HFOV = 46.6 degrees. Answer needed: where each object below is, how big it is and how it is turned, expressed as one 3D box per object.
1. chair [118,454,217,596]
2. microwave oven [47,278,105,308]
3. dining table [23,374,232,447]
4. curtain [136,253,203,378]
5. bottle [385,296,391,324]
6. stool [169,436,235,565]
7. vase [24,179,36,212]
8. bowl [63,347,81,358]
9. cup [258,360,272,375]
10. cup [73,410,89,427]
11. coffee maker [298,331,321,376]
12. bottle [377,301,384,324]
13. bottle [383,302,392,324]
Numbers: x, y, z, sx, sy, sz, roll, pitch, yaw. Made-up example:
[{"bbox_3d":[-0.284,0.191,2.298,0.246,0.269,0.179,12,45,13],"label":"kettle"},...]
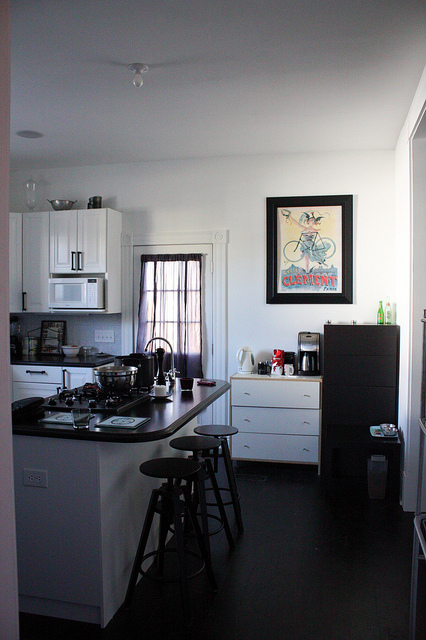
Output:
[{"bbox_3d":[-0.204,0.896,2.303,0.326,0.764,0.356,0,1,25],"label":"chair"},{"bbox_3d":[-1.320,-0.261,4.783,0.542,0.203,0.141,1,-1,21],"label":"microwave oven"},{"bbox_3d":[-0.460,0.506,2.588,0.783,0.408,1.245,1,-1,12],"label":"dining table"},{"bbox_3d":[-0.397,-0.016,4.923,0.624,1.634,0.084,0,37,-4],"label":"curtain"},{"bbox_3d":[1.517,-0.095,4.313,0.047,0.246,0.128,1,-1,19],"label":"bottle"},{"bbox_3d":[-0.001,0.912,2.709,0.354,0.611,0.379,-12,19,-25],"label":"stool"},{"bbox_3d":[-1.877,-1.297,5.127,0.104,0.263,0.187,1,-1,-16],"label":"vase"},{"bbox_3d":[-1.400,0.314,4.954,0.151,0.073,0.140,2,-1,0],"label":"bowl"},{"bbox_3d":[0.469,0.412,4.512,0.098,0.130,0.090,1,6,0],"label":"cup"},{"bbox_3d":[-0.552,0.411,2.092,0.065,0.049,0.130,2,-1,-15],"label":"cup"},{"bbox_3d":[0.867,0.292,4.459,0.204,0.395,0.205,1,-1,13],"label":"coffee maker"},{"bbox_3d":[1.458,-0.076,4.337,0.051,0.196,0.089,1,-1,18],"label":"bottle"},{"bbox_3d":[1.512,-0.070,4.315,0.056,0.183,0.090,1,-1,19],"label":"bottle"}]
